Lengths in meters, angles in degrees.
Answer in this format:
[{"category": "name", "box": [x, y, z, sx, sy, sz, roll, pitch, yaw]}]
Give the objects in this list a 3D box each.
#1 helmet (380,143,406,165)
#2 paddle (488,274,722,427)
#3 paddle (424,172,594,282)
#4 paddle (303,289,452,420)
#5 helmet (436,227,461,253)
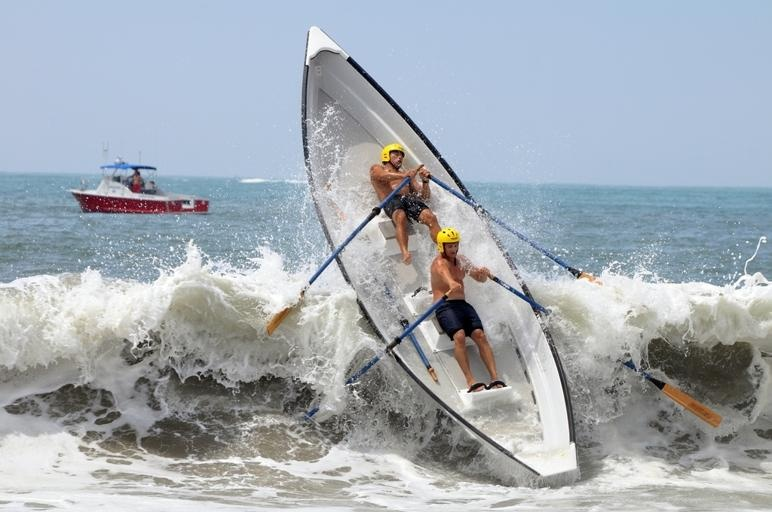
[{"category": "helmet", "box": [0.136, -1.809, 17.002, 0.290, 0.403, 0.307, 1, 38, -39]}, {"category": "paddle", "box": [3.601, 1.664, 15.990, 3.658, 0.286, 0.283, 38, -7, 4]}, {"category": "paddle", "box": [2.209, -0.404, 18.055, 4.090, 0.216, 0.312, 36, -8, 3]}, {"category": "paddle", "box": [-0.068, 1.688, 15.798, 3.185, 0.138, 0.217, -40, -17, 18]}, {"category": "helmet", "box": [1.003, -0.276, 15.916, 0.297, 0.326, 0.406, -10, -30, -22]}]
